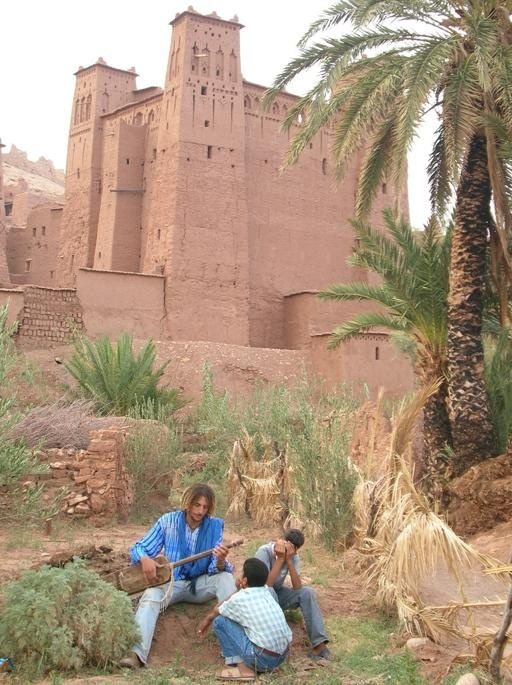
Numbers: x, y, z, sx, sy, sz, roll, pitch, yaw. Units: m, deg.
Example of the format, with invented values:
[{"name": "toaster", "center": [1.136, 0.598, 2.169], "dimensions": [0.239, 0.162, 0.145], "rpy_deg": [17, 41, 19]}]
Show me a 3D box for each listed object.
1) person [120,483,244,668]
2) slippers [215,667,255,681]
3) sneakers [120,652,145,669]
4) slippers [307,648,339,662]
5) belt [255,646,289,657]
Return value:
[{"name": "person", "center": [-0.358, 1.271, 3.673], "dimensions": [0.740, 0.904, 0.740], "rpy_deg": [0, -8, 10]}, {"name": "slippers", "center": [-0.092, 1.612, 3.191], "dimensions": [0.119, 0.046, 0.066], "rpy_deg": [4, -18, 6]}, {"name": "sneakers", "center": [-0.593, 1.541, 3.184], "dimensions": [0.076, 0.074, 0.157], "rpy_deg": [-2, -12, 9]}, {"name": "slippers", "center": [0.369, 1.695, 3.592], "dimensions": [0.159, 0.062, 0.059], "rpy_deg": [-6, -7, 25]}, {"name": "belt", "center": [0.071, 1.507, 3.216], "dimensions": [0.080, 0.024, 0.079], "rpy_deg": [14, -12, -40]}]
